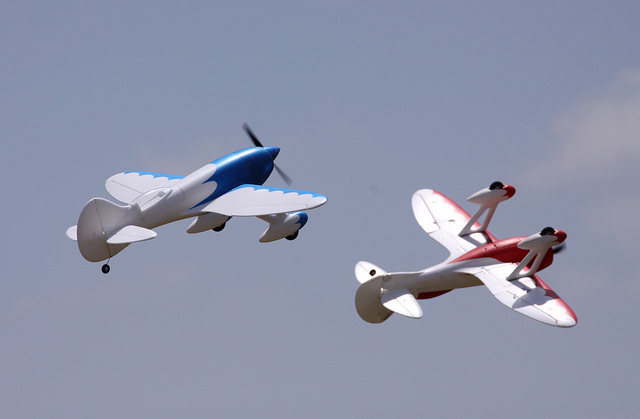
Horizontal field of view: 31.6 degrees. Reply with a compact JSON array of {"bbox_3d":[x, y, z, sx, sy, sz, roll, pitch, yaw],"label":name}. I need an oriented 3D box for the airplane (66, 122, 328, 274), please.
[{"bbox_3d":[-3.439,-0.240,28.595,5.886,5.809,2.125,-14,-70,-22],"label":"airplane"}]

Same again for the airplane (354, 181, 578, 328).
[{"bbox_3d":[3.094,0.421,25.920,4.030,4.899,1.697,-11,-57,-16],"label":"airplane"}]
